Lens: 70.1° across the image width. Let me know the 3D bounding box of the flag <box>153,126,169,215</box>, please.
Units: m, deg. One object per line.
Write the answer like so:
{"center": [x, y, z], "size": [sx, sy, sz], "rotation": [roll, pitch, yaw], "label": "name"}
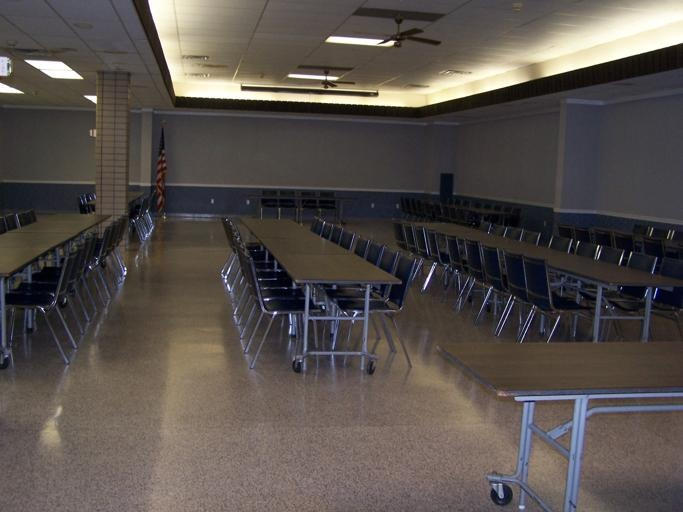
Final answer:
{"center": [-5.892, -2.721, 15.880], "size": [0.414, 2.973, 1.691], "rotation": [-2, 10, -20], "label": "flag"}
